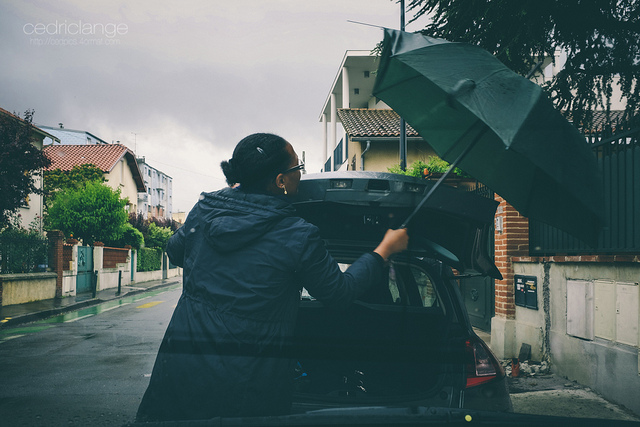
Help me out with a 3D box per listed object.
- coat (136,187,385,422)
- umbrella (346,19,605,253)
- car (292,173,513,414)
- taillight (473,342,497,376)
[{"bbox_3d":[-0.769,0.924,7.378,2.045,2.369,0.528,0,-7,16],"label":"coat"},{"bbox_3d":[1.812,-0.880,7.985,2.364,2.268,1.218,-1,-7,23],"label":"umbrella"},{"bbox_3d":[1.006,0.197,8.834,2.383,0.977,3.404,16,26,1],"label":"car"},{"bbox_3d":[1.828,1.651,8.208,0.242,0.481,0.049,-5,-50,11],"label":"taillight"}]
